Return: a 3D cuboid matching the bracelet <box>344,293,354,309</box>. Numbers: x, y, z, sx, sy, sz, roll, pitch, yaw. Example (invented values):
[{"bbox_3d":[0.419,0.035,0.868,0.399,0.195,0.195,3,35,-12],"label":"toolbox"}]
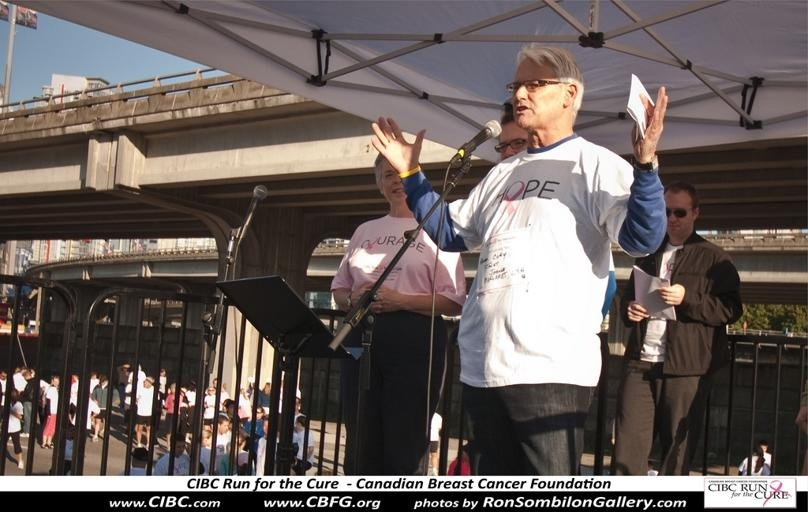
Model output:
[{"bbox_3d":[-0.560,0.475,8.725,0.077,0.151,0.119,-2,5,-40],"label":"bracelet"}]
